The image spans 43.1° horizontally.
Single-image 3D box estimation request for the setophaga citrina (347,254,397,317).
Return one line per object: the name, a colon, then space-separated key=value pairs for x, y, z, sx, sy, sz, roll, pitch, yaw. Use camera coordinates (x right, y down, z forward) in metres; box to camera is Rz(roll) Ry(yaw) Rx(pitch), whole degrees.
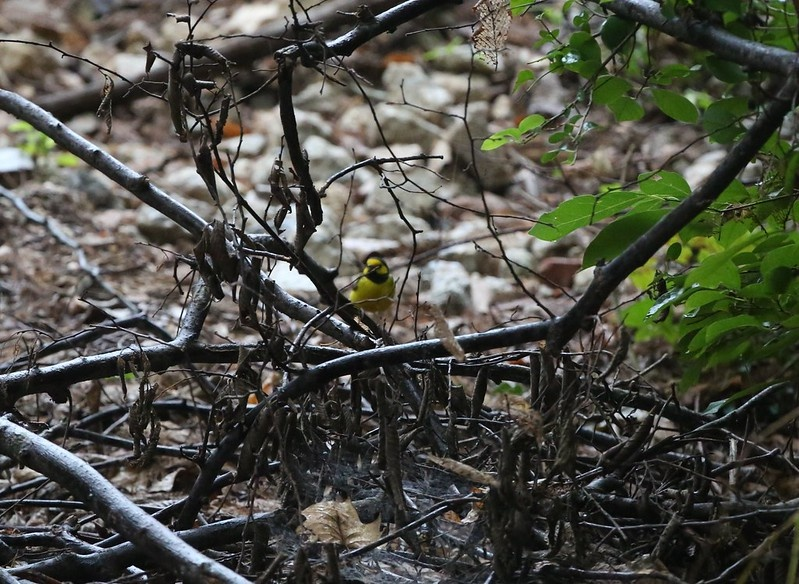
setophaga citrina: x=-0.159 y=-0.075 z=6.643 sx=0.362 sy=0.534 sz=0.368 roll=0 pitch=-75 yaw=-3
